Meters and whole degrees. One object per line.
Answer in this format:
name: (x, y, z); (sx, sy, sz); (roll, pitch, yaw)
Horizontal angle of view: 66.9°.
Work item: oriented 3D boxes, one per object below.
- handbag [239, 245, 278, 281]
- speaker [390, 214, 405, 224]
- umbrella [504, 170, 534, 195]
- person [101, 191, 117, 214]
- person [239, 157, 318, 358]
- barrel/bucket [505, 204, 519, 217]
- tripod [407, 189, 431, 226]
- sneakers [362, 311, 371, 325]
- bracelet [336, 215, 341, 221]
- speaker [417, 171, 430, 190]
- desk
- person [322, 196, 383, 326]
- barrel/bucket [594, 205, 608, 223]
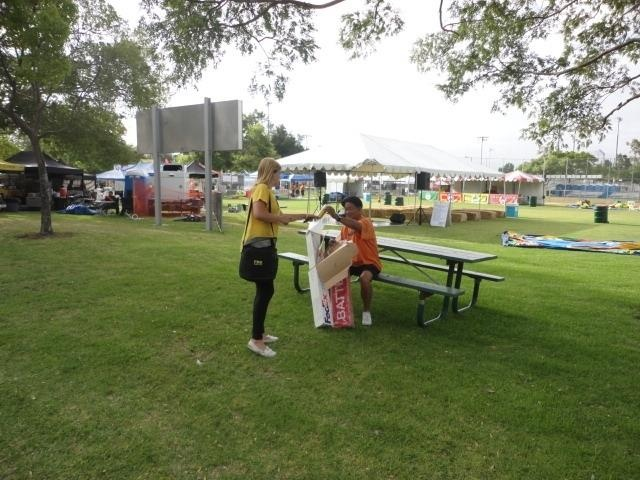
handbag: (-0.675, 0.317, 5.697); (0.474, 0.510, 0.271); (2, -14, 6)
speaker: (3.463, -0.911, 21.461); (0.643, 0.446, 0.488); (2, 6, -6)
umbrella: (19.381, -5.526, 47.156); (2.363, 2.266, 4.779); (5, 7, 23)
person: (-10.294, -1.785, 23.665); (0.667, 0.395, 1.636); (-2, 21, -17)
person: (-0.663, 0.227, 5.766); (0.573, 2.361, 0.406); (1, 6, -14)
barrel/bucket: (11.015, -1.657, 27.845); (0.796, 1.104, 1.077); (4, 8, 23)
tripod: (4.763, -1.555, 22.711); (0.900, 1.341, 0.948); (5, 4, 27)
sneakers: (0.665, 1.083, 6.774); (0.136, 0.183, 0.176); (3, 6, 6)
bracelet: (0.264, -0.293, 6.691); (0.019, 0.053, 0.071); (25, -7, -18)
speaker: (4.609, -2.599, 21.612); (0.623, 0.750, 1.298); (4, 6, 12)
desk: (1.598, 0.545, 8.052); (0.792, 0.999, 2.570); (-12, 13, -34)
person: (0.501, 0.262, 6.982); (0.696, 1.751, 1.123); (4, 6, 17)
barrel/bucket: (14.412, -1.300, 24.486); (0.814, 1.022, 0.937); (0, 1, 13)
